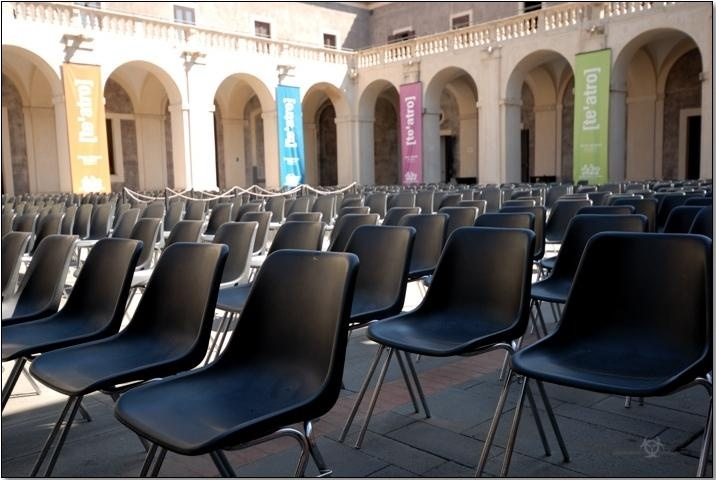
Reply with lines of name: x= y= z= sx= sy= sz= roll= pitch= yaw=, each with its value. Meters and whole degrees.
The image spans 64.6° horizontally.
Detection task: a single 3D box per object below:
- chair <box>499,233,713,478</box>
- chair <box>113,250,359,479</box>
chair: x=1.354 y=0.381 z=2.917 sx=0.886 sy=0.791 sz=0.662 roll=1 pitch=9 yaw=10
chair: x=-0.521 y=0.565 z=2.721 sx=1.066 sy=0.955 sz=0.667 roll=-4 pitch=9 yaw=-24
